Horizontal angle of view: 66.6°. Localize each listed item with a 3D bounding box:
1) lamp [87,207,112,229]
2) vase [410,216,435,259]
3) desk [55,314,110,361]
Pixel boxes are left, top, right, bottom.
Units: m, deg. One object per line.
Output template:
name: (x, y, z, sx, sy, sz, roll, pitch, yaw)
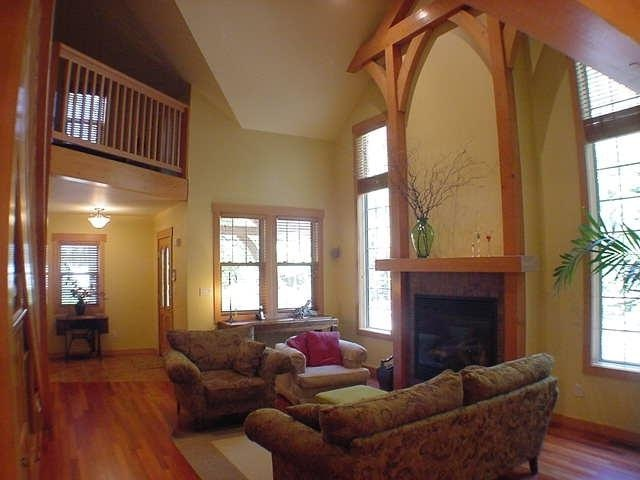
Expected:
lamp: (-3.581, -0.333, 7.887, 0.385, 0.385, 0.406, 2, -6, -16)
vase: (1.262, -0.029, 5.989, 0.259, 0.492, 0.215, 0, -1, 12)
desk: (-4.009, 1.566, 8.294, 0.791, 0.776, 0.738, 0, 4, -17)
